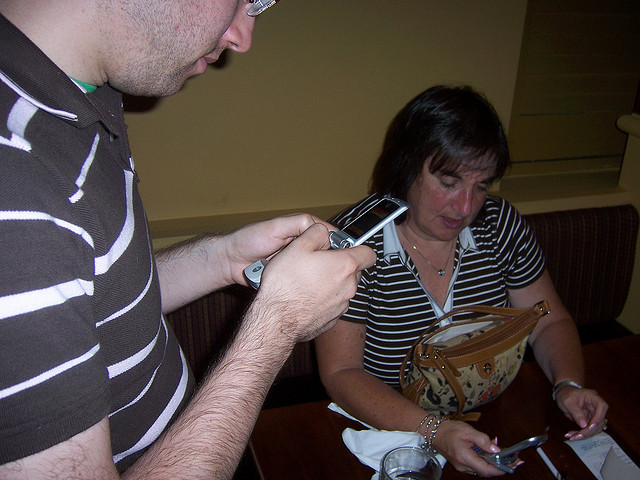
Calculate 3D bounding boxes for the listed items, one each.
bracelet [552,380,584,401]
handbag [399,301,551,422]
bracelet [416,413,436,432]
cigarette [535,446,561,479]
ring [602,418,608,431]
[{"bbox_3d":[0.671,0.411,1.331,0.087,0.036,0.035,-5,22,-16],"label":"bracelet"},{"bbox_3d":[0.395,0.304,1.371,0.389,0.289,0.279,-14,27,-34],"label":"handbag"},{"bbox_3d":[0.269,0.470,1.241,0.039,0.044,0.010,-28,56,-34],"label":"bracelet"},{"bbox_3d":[0.534,0.524,1.141,0.013,0.011,0.078,-26,34,3],"label":"cigarette"},{"bbox_3d":[0.724,0.473,1.237,0.007,0.025,0.023,-1,6,26],"label":"ring"}]
